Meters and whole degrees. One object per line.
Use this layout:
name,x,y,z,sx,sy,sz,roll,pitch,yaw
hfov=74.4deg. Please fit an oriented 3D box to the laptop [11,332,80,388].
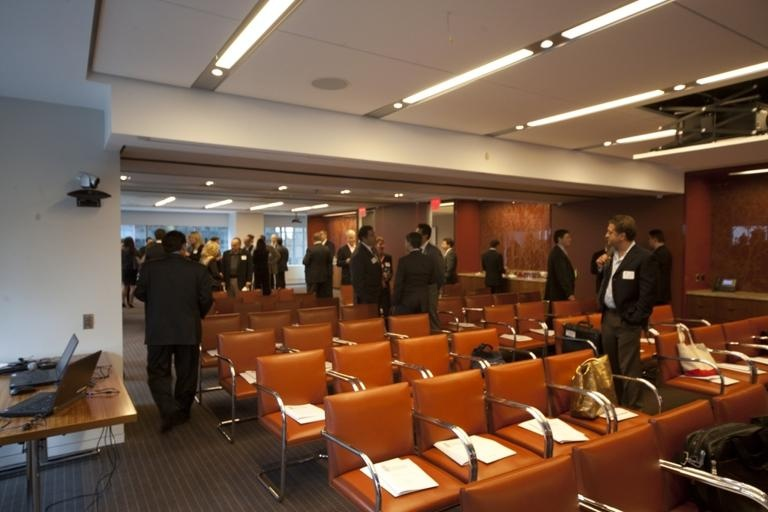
laptop,-3.469,1.040,5.159,0.553,0.375,0.600,1,6,-35

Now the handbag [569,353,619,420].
handbag,2.157,1.312,5.184,0.577,0.565,0.263,-19,20,-34

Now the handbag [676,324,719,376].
handbag,3.810,1.170,6.136,0.355,0.488,0.205,20,-38,-20

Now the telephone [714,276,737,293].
telephone,6.563,0.563,9.727,0.257,0.312,0.319,21,-12,-38

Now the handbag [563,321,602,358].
handbag,2.484,1.066,6.361,0.164,0.406,0.471,-5,10,-41

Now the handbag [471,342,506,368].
handbag,1.188,1.163,5.902,0.427,0.405,0.209,1,-6,-5

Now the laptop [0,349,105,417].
laptop,-2.917,1.178,4.498,0.346,0.524,0.525,26,13,-11
